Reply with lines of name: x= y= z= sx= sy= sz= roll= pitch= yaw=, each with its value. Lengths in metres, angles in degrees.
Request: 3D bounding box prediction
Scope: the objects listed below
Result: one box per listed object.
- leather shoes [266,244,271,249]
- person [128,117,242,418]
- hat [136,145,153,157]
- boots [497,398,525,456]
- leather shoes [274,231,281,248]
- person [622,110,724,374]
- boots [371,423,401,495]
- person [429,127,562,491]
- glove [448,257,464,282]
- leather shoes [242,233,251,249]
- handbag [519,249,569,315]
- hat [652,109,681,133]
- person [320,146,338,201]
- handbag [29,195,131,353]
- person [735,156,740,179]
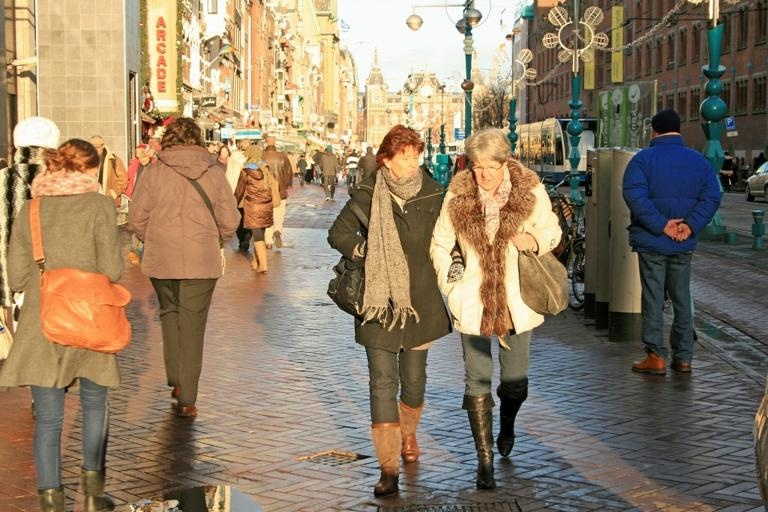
leather shoes: x=-2.657 y=-0.225 z=18.171 sx=0.093 sy=0.115 sz=0.122 roll=3 pitch=-5 yaw=-24
person: x=-1.728 y=0.033 z=6.674 sx=0.757 sy=2.364 sz=0.801 roll=3 pitch=9 yaw=22
hat: x=-4.491 y=-1.977 z=14.808 sx=0.224 sy=0.210 sz=0.269 roll=-8 pitch=-16 yaw=-27
boots: x=0.839 y=1.166 z=5.435 sx=0.150 sy=0.466 sz=0.205 roll=4 pitch=0 yaw=15
leather shoes: x=-2.450 y=-0.395 z=18.254 sx=0.155 sy=0.360 sz=0.148 roll=-9 pitch=-7 yaw=-4
person: x=2.701 y=-0.125 z=7.527 sx=0.880 sy=2.516 sz=0.552 roll=1 pitch=9 yaw=9
boots: x=0.014 y=1.240 z=4.933 sx=0.176 sy=0.375 sz=0.303 roll=0 pitch=9 yaw=0
person: x=0.705 y=0.309 z=5.116 sx=0.693 sy=2.235 sz=0.585 roll=-7 pitch=11 yaw=-36
glove: x=0.454 y=0.082 z=4.992 sx=0.092 sy=0.145 sz=0.039 roll=9 pitch=-3 yaw=11
leather shoes: x=-3.255 y=-0.365 z=18.662 sx=0.127 sy=0.360 sz=0.246 roll=1 pitch=42 yaw=-8
handbag: x=1.042 y=0.171 z=4.989 sx=0.378 sy=0.415 sz=0.190 roll=-4 pitch=9 yaw=-22
hat: x=2.681 y=-1.300 z=7.583 sx=0.278 sy=0.259 sz=0.240 roll=-3 pitch=21 yaw=-8
person: x=-2.565 y=-3.840 z=36.086 sx=0.880 sy=2.296 sz=0.812 roll=-3 pitch=13 yaw=-14
handbag: x=-1.831 y=0.120 z=4.755 sx=0.452 sy=0.874 sz=0.589 roll=-3 pitch=-7 yaw=31
person: x=22.500 y=-5.614 z=50.539 sx=0.332 sy=1.326 sz=2.878 roll=4 pitch=10 yaw=26
